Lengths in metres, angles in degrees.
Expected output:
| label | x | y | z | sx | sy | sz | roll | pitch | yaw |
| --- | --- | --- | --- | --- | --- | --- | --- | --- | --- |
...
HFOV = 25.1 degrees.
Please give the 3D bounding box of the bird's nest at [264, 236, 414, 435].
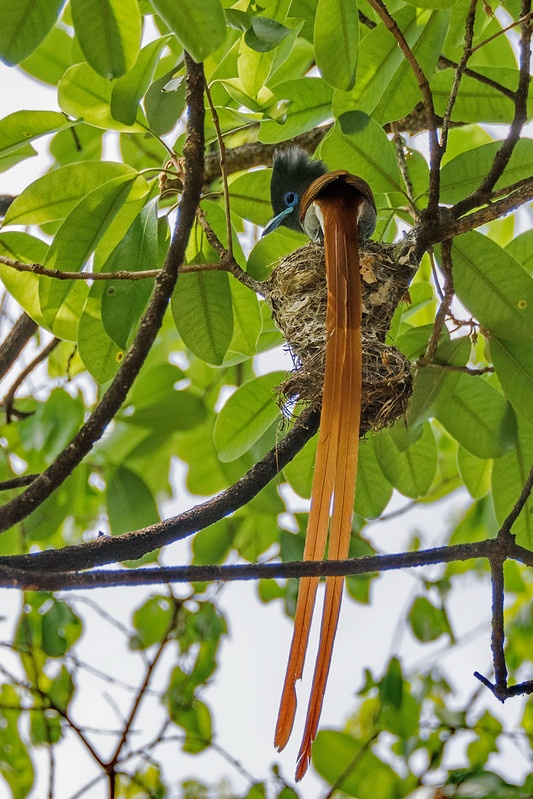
| label | x | y | z | sx | sy | sz | roll | pitch | yaw |
| --- | --- | --- | --- | --- | --- | --- | --- | --- | --- |
| bird's nest | 0.232 | -0.326 | 3.476 | 0.441 | 0.644 | 0.246 | -7 | -69 | 4 |
